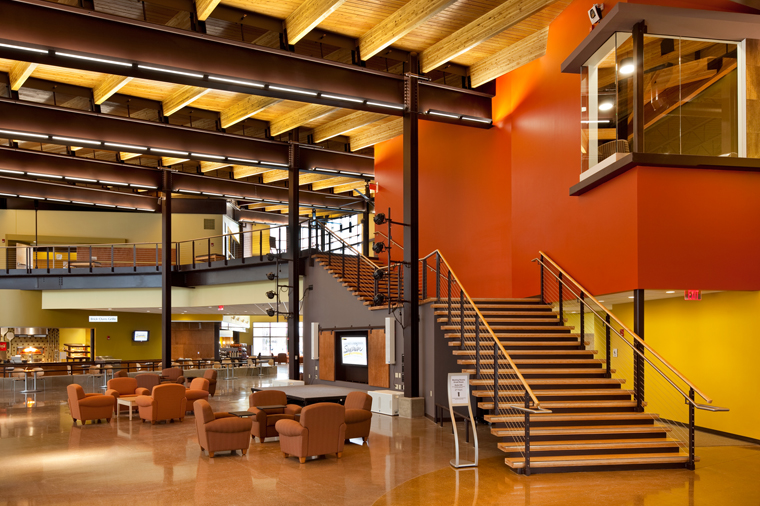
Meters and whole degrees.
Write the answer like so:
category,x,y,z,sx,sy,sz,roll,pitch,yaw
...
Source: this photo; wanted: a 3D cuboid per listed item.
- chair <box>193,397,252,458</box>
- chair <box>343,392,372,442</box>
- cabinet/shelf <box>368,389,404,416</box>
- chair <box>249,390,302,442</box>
category,x,y,z,sx,sy,sz,roll,pitch,yaw
chair,-3.475,3.798,15.197,1.243,1.061,1.489,1,-3,-20
chair,-0.488,3.823,15.854,1.024,1.085,1.221,-1,-7,-3
cabinet/shelf,0.256,4.234,19.360,0.544,0.612,1.339,1,-6,-32
chair,-2.580,3.720,16.110,1.454,1.151,1.120,2,-8,-27
